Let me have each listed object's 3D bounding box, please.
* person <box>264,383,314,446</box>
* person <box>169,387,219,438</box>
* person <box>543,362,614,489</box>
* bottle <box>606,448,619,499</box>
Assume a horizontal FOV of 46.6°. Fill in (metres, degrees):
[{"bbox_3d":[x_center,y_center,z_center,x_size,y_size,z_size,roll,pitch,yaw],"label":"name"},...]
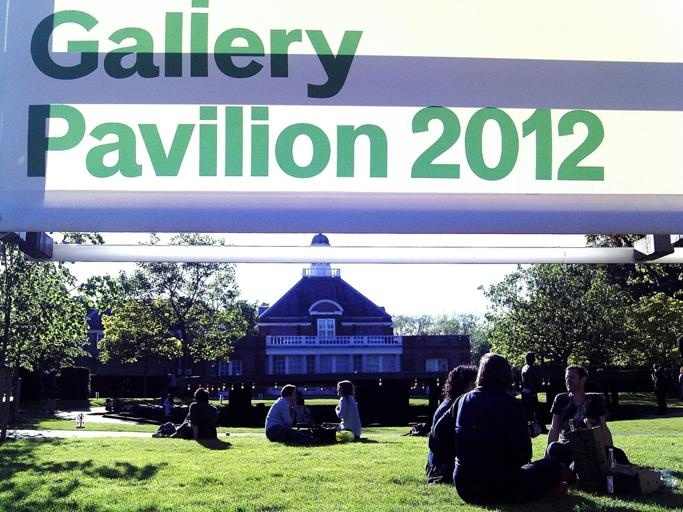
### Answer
[{"bbox_3d":[-1.130,3.280,16.679,0.942,1.382,1.091,0,-6,-10],"label":"person"},{"bbox_3d":[-3.216,3.515,17.792,0.874,1.157,1.760,4,-7,-20],"label":"person"},{"bbox_3d":[3.240,2.380,11.067,1.156,2.013,1.066,-7,-29,20],"label":"person"},{"bbox_3d":[3.407,2.672,9.967,0.114,0.515,0.403,-1,-7,19],"label":"bottle"}]
